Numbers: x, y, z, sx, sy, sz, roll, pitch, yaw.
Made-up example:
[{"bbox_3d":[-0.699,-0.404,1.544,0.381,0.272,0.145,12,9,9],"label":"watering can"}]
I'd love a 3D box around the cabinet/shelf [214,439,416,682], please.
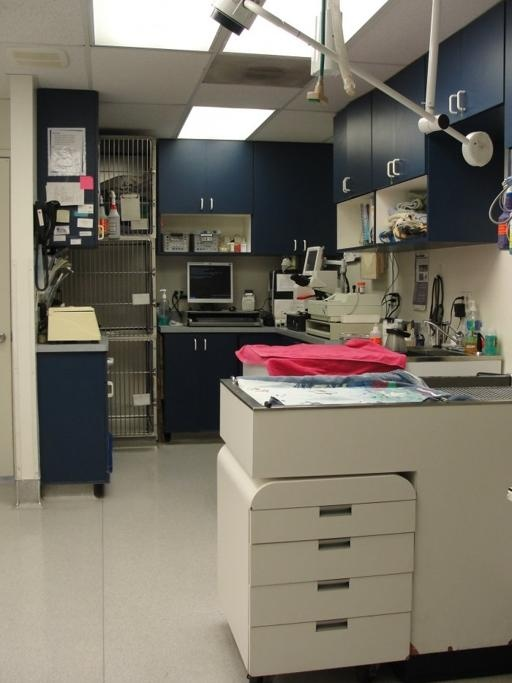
[{"bbox_3d":[0.157,0.577,1.684,0.405,0.569,0.544,0,-1,-11],"label":"cabinet/shelf"}]

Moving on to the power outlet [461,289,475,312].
[{"bbox_3d":[1.111,-0.205,3.028,0.061,0.133,0.202,-1,2,15],"label":"power outlet"}]

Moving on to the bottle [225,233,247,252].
[{"bbox_3d":[-0.164,-0.849,5.093,0.166,0.137,0.170,1,3,2],"label":"bottle"}]

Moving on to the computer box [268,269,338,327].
[{"bbox_3d":[0.378,-0.412,4.559,0.351,0.538,0.687,0,3,-10],"label":"computer box"}]

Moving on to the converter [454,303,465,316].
[{"bbox_3d":[1.082,-0.172,3.112,0.015,0.061,0.054,-3,2,-40],"label":"converter"}]

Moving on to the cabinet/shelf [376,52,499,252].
[{"bbox_3d":[0.960,-0.864,2.876,0.381,0.737,0.736,-1,2,-12],"label":"cabinet/shelf"}]

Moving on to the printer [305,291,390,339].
[{"bbox_3d":[0.553,-0.151,3.534,0.274,0.276,0.412,0,2,-11],"label":"printer"}]

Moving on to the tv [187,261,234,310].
[{"bbox_3d":[-0.407,-0.494,5.057,0.389,0.390,0.048,0,4,-15],"label":"tv"}]

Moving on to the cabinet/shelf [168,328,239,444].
[{"bbox_3d":[-0.469,0.344,4.884,0.789,1.280,0.683,0,2,-2],"label":"cabinet/shelf"}]
